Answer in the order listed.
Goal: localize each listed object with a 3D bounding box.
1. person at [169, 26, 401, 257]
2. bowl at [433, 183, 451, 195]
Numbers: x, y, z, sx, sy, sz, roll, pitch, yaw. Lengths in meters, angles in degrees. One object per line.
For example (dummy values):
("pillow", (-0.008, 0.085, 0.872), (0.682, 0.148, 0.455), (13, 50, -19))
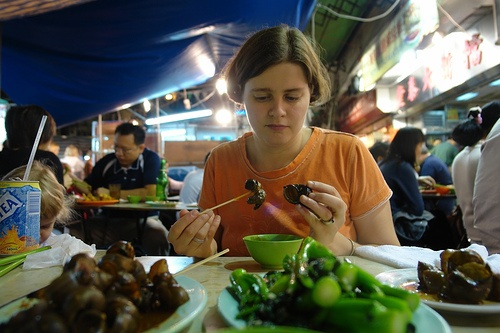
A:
("person", (0.314, -0.225, 2.953), (1.622, 1.447, 1.065), (0, 0, 5))
("bowl", (3.218, 0.382, 6.207), (0.204, 0.115, 0.221), (1, -3, 0))
